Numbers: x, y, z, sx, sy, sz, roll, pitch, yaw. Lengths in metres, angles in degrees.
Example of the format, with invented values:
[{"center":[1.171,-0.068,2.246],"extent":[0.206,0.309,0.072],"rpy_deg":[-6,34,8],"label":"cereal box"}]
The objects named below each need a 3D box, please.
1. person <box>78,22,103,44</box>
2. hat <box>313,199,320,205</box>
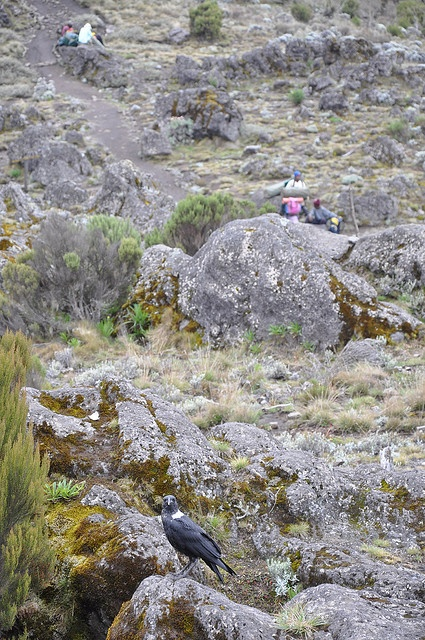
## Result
[{"center":[-5.787,-13.346,48.290],"extent":[0.872,0.920,2.369],"rpy_deg":[9,22,4],"label":"person"},{"center":[2.629,-3.007,26.090],"extent":[0.166,0.090,0.209],"rpy_deg":[-1,6,-7],"label":"hat"}]
